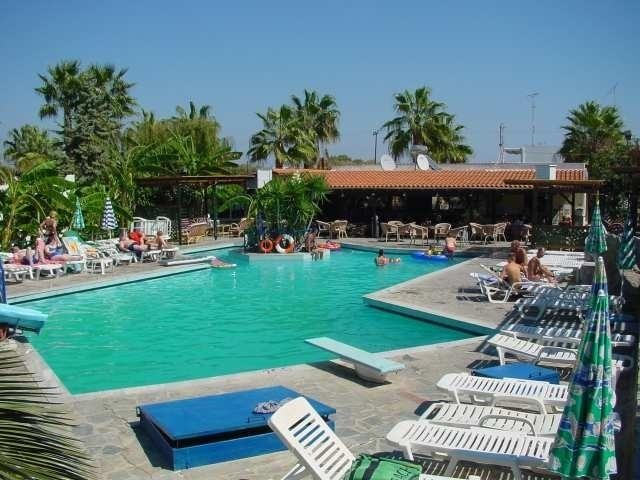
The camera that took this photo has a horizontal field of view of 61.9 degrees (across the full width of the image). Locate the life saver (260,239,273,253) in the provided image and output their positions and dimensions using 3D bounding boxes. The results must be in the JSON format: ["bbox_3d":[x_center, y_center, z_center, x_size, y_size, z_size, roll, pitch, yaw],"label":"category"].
[{"bbox_3d":[-2.234,0.269,21.935,0.550,0.545,0.241,-5,6,-1],"label":"life saver"}]

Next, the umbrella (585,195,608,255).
[{"bbox_3d":[5.870,-0.312,11.392,0.491,1.085,0.467,5,8,26],"label":"umbrella"}]

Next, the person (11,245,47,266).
[{"bbox_3d":[-8.399,0.450,15.099,1.057,0.582,0.845,-2,6,28],"label":"person"}]

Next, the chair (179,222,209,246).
[{"bbox_3d":[-6.234,-0.282,25.538,1.146,0.818,1.137,2,6,12],"label":"chair"}]

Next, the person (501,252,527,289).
[{"bbox_3d":[4.234,0.778,11.888,0.536,0.996,0.559,-6,15,-8],"label":"person"}]

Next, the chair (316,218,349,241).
[{"bbox_3d":[0.685,-0.326,28.489,1.463,1.330,1.060,-6,14,-36],"label":"chair"}]

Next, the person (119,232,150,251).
[{"bbox_3d":[-6.756,0.090,19.054,1.036,0.380,0.616,10,10,43],"label":"person"}]

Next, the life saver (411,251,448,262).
[{"bbox_3d":[4.311,0.685,21.317,0.737,0.310,1.716,-9,7,-38],"label":"life saver"}]

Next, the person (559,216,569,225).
[{"bbox_3d":[11.679,-0.919,25.562,0.646,0.336,0.938,2,10,23],"label":"person"}]

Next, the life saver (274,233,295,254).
[{"bbox_3d":[-1.489,0.177,21.990,0.828,0.741,0.570,-5,5,-7],"label":"life saver"}]

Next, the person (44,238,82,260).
[{"bbox_3d":[-7.915,0.306,16.259,1.107,0.612,0.505,10,8,20],"label":"person"}]
